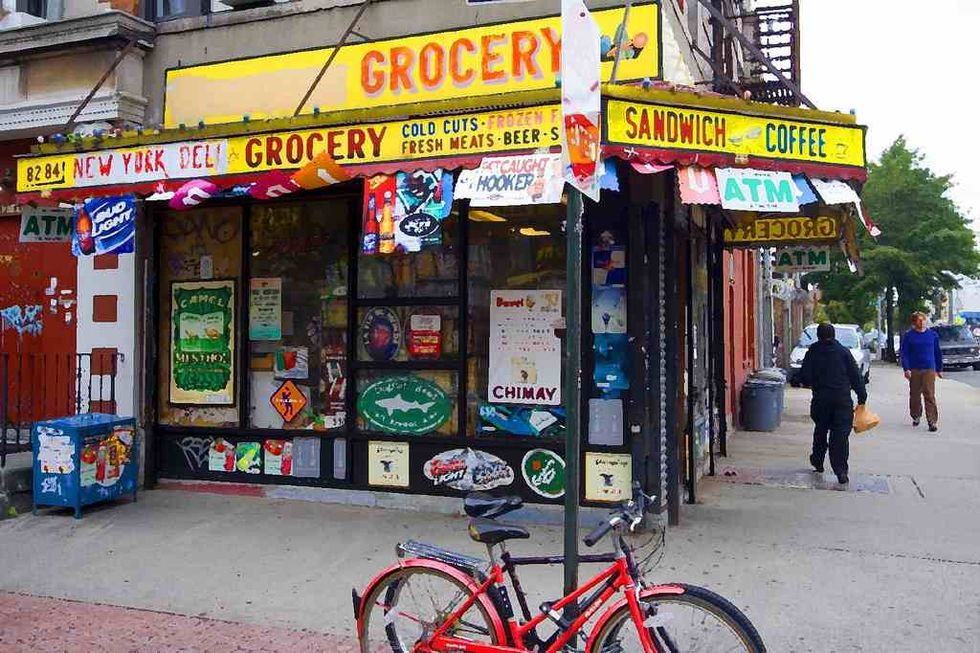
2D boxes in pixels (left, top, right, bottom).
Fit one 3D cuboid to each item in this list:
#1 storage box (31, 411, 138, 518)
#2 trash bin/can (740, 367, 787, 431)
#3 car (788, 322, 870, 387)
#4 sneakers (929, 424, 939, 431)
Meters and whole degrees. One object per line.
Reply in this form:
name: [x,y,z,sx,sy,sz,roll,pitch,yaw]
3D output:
storage box: [-5.199,1.747,12.469,0.717,1.079,1.252,2,0,10]
trash bin/can: [5.334,1.418,18.788,0.960,1.229,1.037,-1,-3,22]
car: [7.086,0.577,20.151,1.422,1.202,2.740,-2,-9,32]
sneakers: [8.294,1.882,18.038,0.089,0.106,0.257,2,2,21]
